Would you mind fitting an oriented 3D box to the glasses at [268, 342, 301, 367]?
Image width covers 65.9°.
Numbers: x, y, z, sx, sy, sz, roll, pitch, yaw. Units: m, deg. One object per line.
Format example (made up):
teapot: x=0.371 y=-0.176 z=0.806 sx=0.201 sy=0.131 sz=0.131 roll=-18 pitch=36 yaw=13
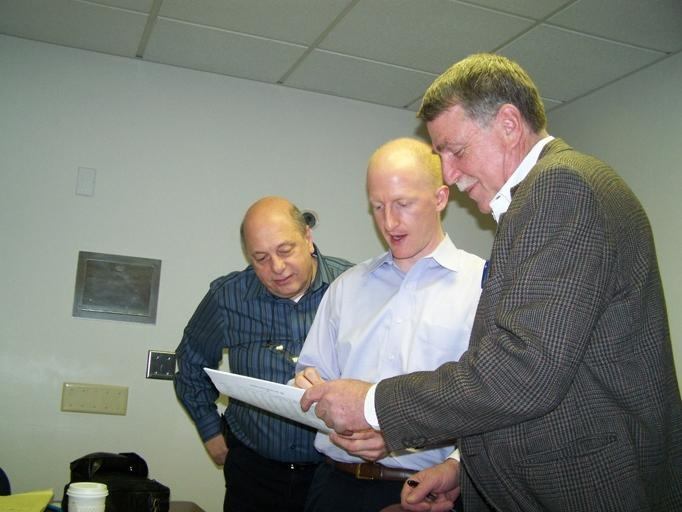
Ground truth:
glasses: x=-0.268 y=0.445 z=2.469 sx=0.124 sy=0.136 sz=0.039 roll=7 pitch=24 yaw=8
